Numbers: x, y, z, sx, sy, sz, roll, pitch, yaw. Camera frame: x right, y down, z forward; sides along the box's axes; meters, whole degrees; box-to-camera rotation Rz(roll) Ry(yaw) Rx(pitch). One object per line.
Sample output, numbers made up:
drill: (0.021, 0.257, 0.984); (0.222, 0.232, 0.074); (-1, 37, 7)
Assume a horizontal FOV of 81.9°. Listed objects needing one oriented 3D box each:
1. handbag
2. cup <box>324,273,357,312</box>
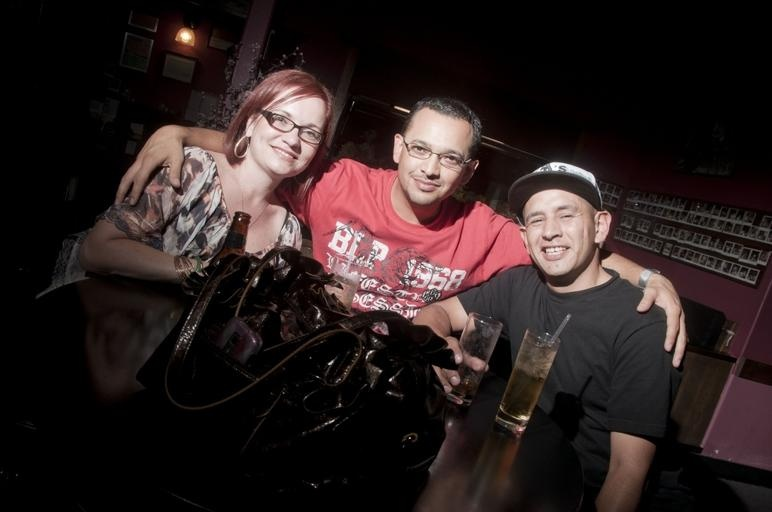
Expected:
handbag: (-0.197, 0.368, 1.405); (0.801, 0.518, 0.502); (20, 9, 16)
cup: (-0.190, 0.142, 1.802); (0.159, 0.098, 0.083); (20, -11, -36)
